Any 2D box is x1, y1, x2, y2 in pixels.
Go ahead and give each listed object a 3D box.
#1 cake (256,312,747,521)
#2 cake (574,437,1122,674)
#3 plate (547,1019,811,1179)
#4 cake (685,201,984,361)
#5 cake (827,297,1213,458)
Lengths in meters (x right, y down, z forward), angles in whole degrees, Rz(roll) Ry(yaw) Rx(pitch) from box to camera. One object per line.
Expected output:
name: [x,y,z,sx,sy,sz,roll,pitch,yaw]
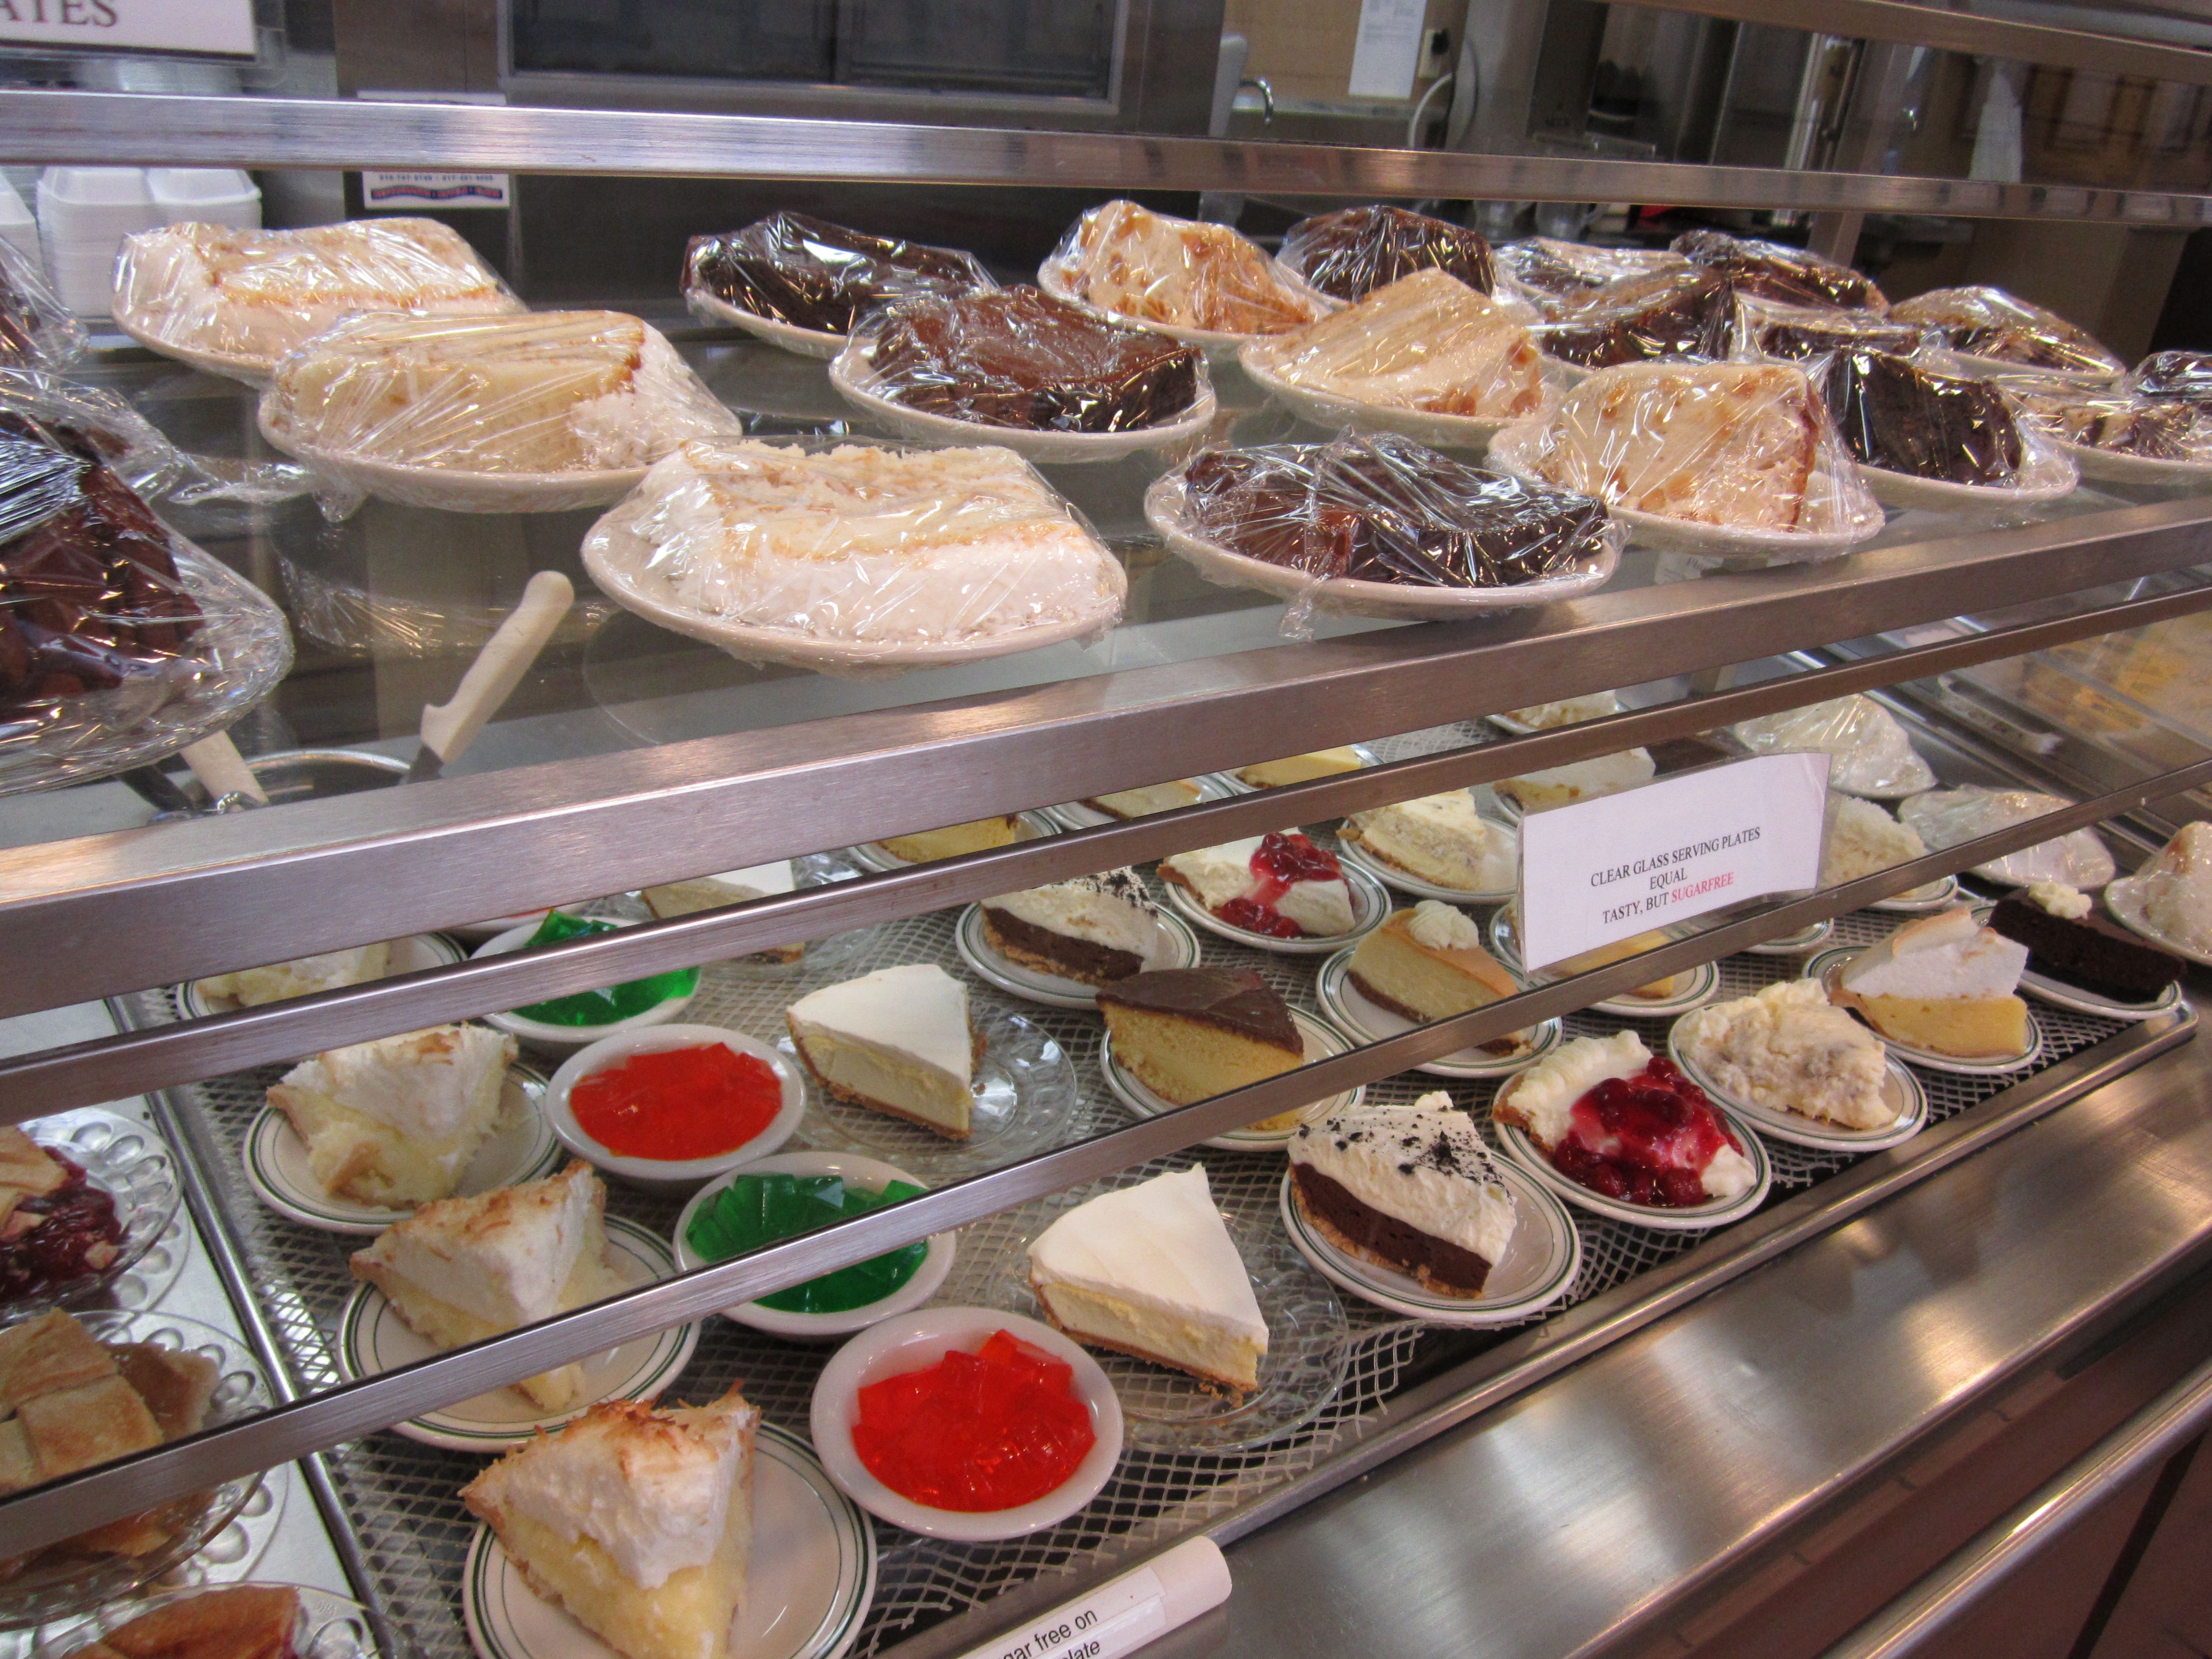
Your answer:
cake: [-0.416,-0.301,1.006,0.309,0.071,0.226,0,37,-8]
cake: [-0.151,-0.170,0.883,0.309,0.092,0.225,-7,30,-18]
plate: [-0.286,0.185,0.996,0.163,0.108,0.072,-4,35,-12]
cake: [-0.227,-0.459,1.280,0.272,0.073,0.163,-1,26,-14]
cake: [-0.028,-0.335,1.158,0.262,0.053,0.256,14,28,40]
